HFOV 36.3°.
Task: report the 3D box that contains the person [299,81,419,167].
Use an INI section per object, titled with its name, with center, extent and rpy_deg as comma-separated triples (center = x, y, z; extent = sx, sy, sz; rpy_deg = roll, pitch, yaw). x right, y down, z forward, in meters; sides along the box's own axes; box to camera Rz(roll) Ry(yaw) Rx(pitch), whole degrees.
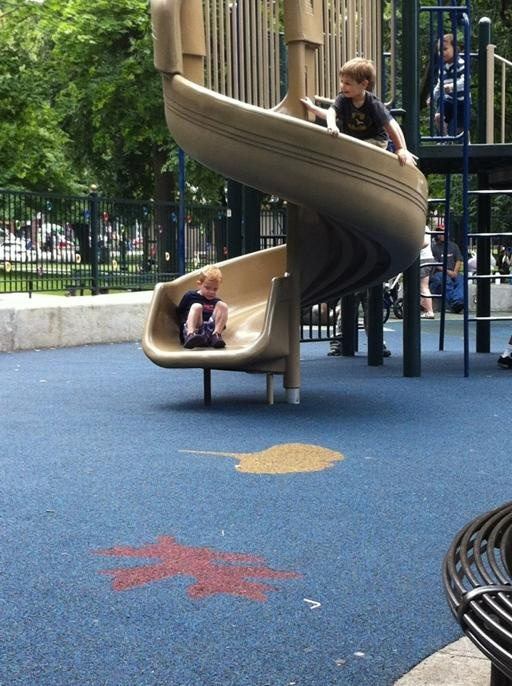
[person]
center = 0.709, -1.451, 5.102
extent = 0.551, 0.371, 0.722
rpy_deg = -9, -8, 17

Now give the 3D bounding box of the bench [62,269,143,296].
[bench]
center = -2.508, -1.023, 12.886
extent = 0.284, 0.365, 1.566
rpy_deg = 3, 5, 38

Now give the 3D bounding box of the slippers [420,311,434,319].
[slippers]
center = 3.320, -0.542, 15.042
extent = 0.155, 0.180, 0.423
rpy_deg = -2, 10, -11

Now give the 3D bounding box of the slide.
[slide]
center = 0.053, -1.013, 5.943
extent = 2.216, 2.432, 2.244
rpy_deg = -8, 16, -36

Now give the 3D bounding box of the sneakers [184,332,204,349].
[sneakers]
center = -0.479, -0.013, 5.854
extent = 0.075, 0.070, 0.177
rpy_deg = -1, -27, -14
